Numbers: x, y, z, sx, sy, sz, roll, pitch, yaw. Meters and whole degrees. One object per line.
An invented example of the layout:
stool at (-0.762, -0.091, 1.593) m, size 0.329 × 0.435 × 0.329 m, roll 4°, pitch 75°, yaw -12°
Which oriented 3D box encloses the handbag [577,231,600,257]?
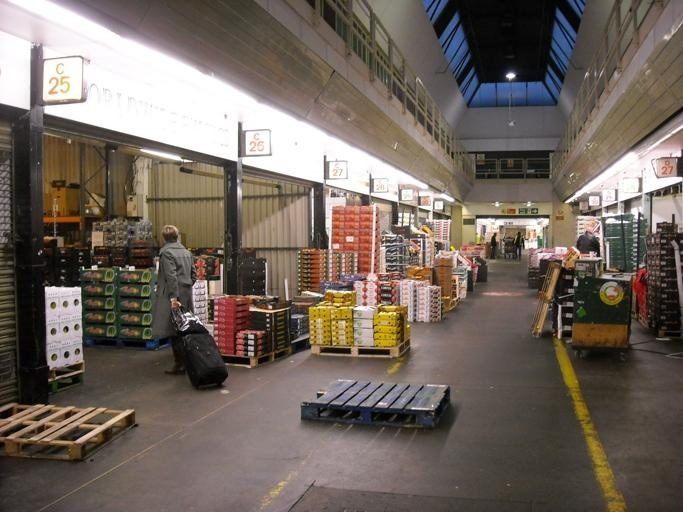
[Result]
handbag at (6.905, -0.365, 13.918) m, size 0.508 × 0.681 × 0.539 m, roll 1°, pitch 3°, yaw 21°

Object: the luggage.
luggage at (-2.056, 1.212, 6.953) m, size 0.499 × 1.303 × 0.461 m, roll -1°, pitch -26°, yaw -47°
